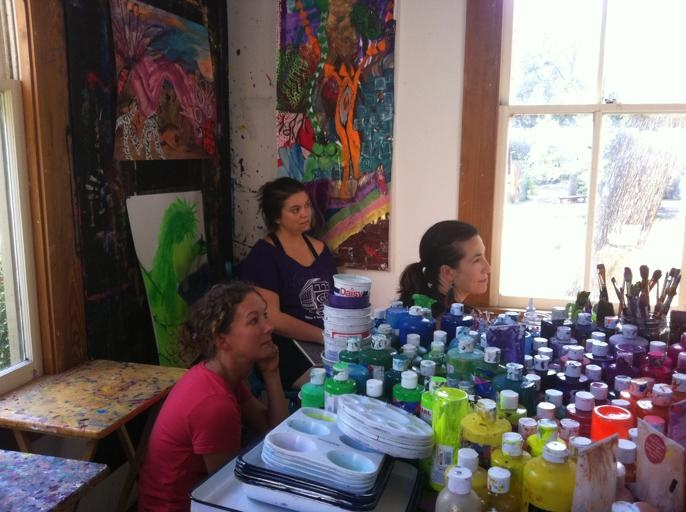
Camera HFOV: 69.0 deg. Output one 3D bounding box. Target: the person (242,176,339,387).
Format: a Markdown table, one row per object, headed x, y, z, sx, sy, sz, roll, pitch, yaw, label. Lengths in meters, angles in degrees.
| x | y | z | sx | sy | sz | roll | pitch | yaw | label |
| --- | --- | --- | --- | --- | --- | --- | --- | --- | --- |
| -0.335 | 0.096 | 3.319 | 0.598 | 1.356 | 0.635 | 3 | 12 | 3 | person |
